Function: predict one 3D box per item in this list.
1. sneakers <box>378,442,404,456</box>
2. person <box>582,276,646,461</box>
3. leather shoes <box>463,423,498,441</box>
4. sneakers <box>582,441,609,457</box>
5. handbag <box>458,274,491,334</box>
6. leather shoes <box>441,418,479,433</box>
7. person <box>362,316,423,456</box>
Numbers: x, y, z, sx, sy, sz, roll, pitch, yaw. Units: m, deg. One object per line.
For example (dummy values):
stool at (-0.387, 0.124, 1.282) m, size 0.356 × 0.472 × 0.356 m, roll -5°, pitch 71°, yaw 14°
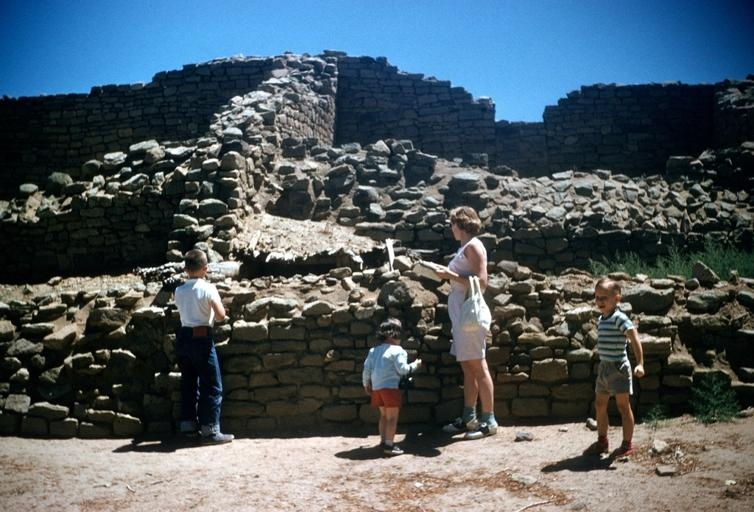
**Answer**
sneakers at (0.190, 2.556, 9.823) m, size 0.302 × 0.123 × 0.128 m, roll 2°, pitch -6°, yaw -3°
person at (3.032, 1.401, 9.499) m, size 0.637 × 2.224 × 0.355 m, roll -1°, pitch 1°, yaw 15°
leather shoes at (1.399, 2.375, 10.055) m, size 0.443 × 0.157 × 0.181 m, roll 0°, pitch -1°, yaw -14°
sneakers at (2.782, 2.463, 9.521) m, size 0.365 × 0.158 × 0.144 m, roll -3°, pitch 10°, yaw 8°
handbag at (1.310, 0.655, 10.008) m, size 0.402 × 0.763 × 0.221 m, roll -1°, pitch 1°, yaw 4°
leather shoes at (1.134, 2.335, 10.237) m, size 0.524 × 0.216 × 0.210 m, roll -2°, pitch -2°, yaw 17°
person at (0.169, 1.729, 9.929) m, size 0.699 × 1.755 × 0.357 m, roll -1°, pitch 1°, yaw -2°
